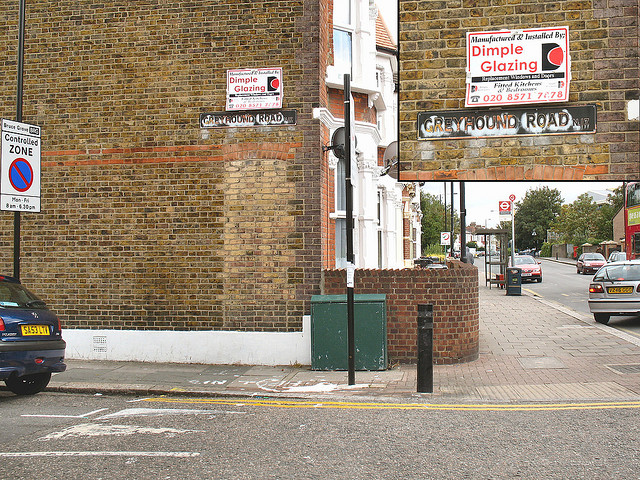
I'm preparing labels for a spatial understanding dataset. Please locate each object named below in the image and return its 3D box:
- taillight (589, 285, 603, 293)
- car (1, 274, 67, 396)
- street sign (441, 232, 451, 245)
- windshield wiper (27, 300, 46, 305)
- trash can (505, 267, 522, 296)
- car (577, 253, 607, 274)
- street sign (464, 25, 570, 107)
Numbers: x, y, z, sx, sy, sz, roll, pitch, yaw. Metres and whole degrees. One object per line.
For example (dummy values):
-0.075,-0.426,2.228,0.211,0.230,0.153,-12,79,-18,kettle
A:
7.651,1.327,21.401,0.071,0.240,0.374,-4,6,-44,taillight
-5.101,1.727,13.616,1.005,2.188,1.297,-2,5,-22,car
7.486,-0.186,46.247,0.821,0.928,0.043,-4,7,-26,street sign
-5.094,1.088,13.698,0.291,0.052,0.079,8,-40,-36,windshield wiper
7.804,1.656,31.002,0.593,1.078,0.515,2,5,18,trash can
15.668,1.300,44.611,0.969,0.881,1.885,-1,-7,9,car
3.589,-3.118,13.741,1.328,1.063,0.062,0,0,14,street sign
